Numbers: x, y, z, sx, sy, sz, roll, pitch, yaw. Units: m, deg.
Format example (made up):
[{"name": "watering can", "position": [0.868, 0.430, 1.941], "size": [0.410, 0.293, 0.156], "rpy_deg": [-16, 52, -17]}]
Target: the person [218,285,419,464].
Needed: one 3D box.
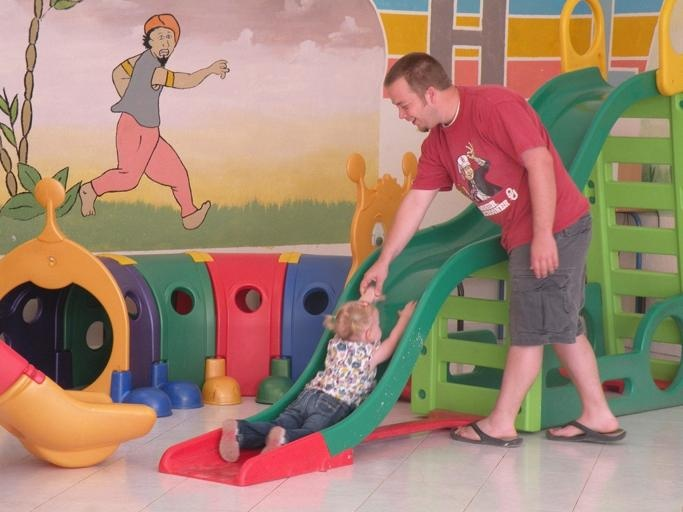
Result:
[{"name": "person", "position": [-0.096, 0.569, 4.033], "size": [0.368, 0.513, 1.173], "rpy_deg": [10, 22, 37]}]

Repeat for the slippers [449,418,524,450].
[{"name": "slippers", "position": [0.736, 0.868, 4.224], "size": [0.324, 0.110, 0.126], "rpy_deg": [2, -4, 27]}]

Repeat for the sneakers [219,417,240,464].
[{"name": "sneakers", "position": [-0.513, 0.837, 3.849], "size": [0.096, 0.213, 0.099], "rpy_deg": [-3, 12, -14]}]

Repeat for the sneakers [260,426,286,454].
[{"name": "sneakers", "position": [-0.305, 0.823, 3.765], "size": [0.104, 0.104, 0.128], "rpy_deg": [0, 12, 0]}]

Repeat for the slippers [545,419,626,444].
[{"name": "slippers", "position": [1.249, 0.875, 4.254], "size": [0.336, 0.100, 0.141], "rpy_deg": [2, -1, 19]}]

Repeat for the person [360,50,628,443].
[{"name": "person", "position": [0.804, -0.017, 4.118], "size": [1.218, 1.886, 0.395], "rpy_deg": [5, 12, 20]}]
